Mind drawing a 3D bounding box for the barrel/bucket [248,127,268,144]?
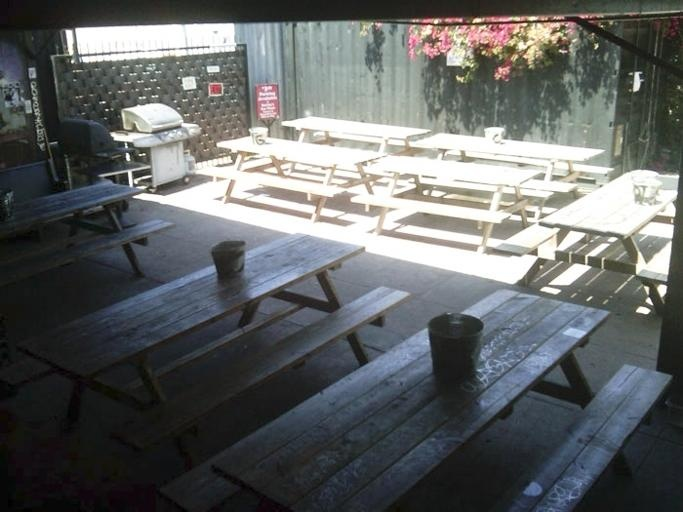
[{"bbox_3d":[-1.287,-1.873,7.827,0.332,0.213,0.320,-2,18,0],"label":"barrel/bucket"}]

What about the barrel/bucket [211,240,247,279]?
[{"bbox_3d":[-0.776,0.018,3.517,0.245,0.212,0.275,-7,11,-18],"label":"barrel/bucket"}]

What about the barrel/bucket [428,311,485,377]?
[{"bbox_3d":[0.568,0.404,2.423,0.318,0.303,0.285,2,29,14],"label":"barrel/bucket"}]

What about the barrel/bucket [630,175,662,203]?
[{"bbox_3d":[3.054,-0.661,4.985,0.290,0.212,0.268,-3,12,1],"label":"barrel/bucket"}]
